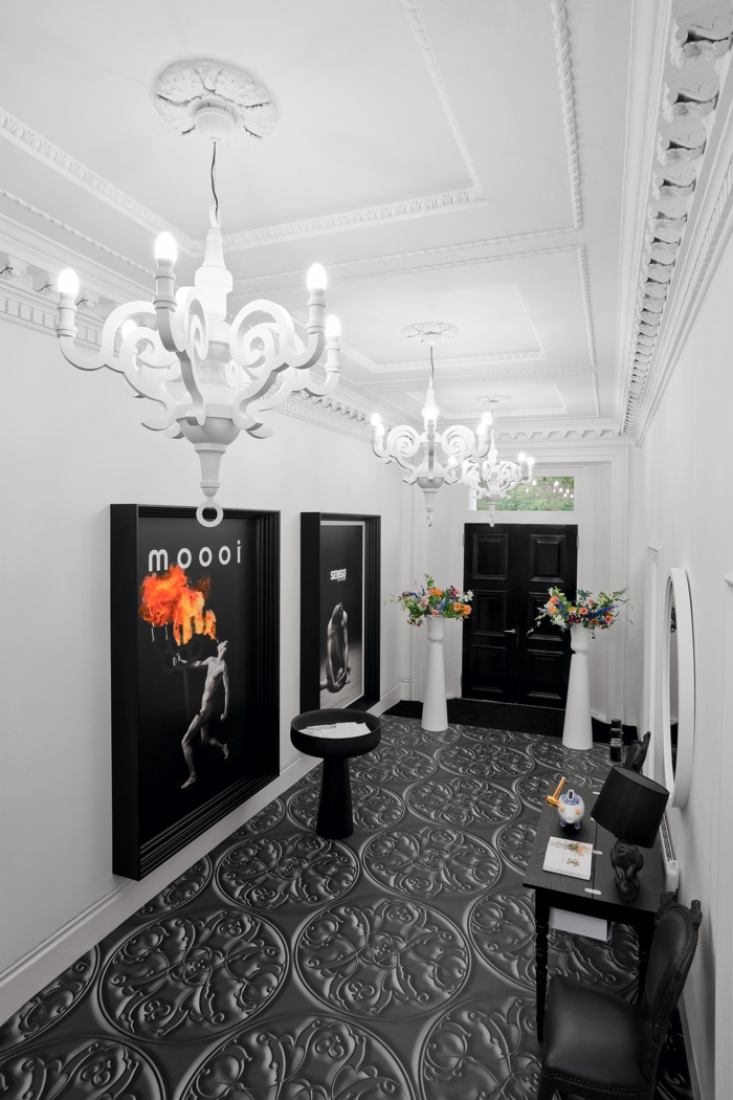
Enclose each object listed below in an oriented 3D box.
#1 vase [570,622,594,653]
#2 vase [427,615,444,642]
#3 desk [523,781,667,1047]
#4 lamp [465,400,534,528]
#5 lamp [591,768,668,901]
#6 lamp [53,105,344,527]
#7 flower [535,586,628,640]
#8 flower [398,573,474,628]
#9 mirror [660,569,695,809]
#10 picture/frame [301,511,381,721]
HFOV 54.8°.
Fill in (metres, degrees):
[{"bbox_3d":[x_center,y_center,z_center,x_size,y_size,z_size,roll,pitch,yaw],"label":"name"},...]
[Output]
[{"bbox_3d":[2.033,0.846,6.735,0.144,0.268,0.167,0,1,4],"label":"vase"},{"bbox_3d":[0.704,0.821,7.255,0.203,0.262,0.208,0,-3,-1],"label":"vase"},{"bbox_3d":[0.859,1.376,2.638,0.357,0.576,0.976,2,1,19],"label":"desk"},{"bbox_3d":[1.102,-0.765,6.132,0.510,0.877,0.511,-6,-10,38],"label":"lamp"},{"bbox_3d":[0.952,1.027,2.590,0.244,0.479,0.463,1,1,18],"label":"lamp"},{"bbox_3d":[-0.371,-0.564,1.677,0.596,0.995,0.638,0,1,-14],"label":"lamp"},{"bbox_3d":[2.124,0.661,7.253,0.988,0.549,1.369,1,1,21],"label":"flower"},{"bbox_3d":[0.750,0.554,7.487,0.612,0.479,0.654,-3,-5,7],"label":"flower"},{"bbox_3d":[1.193,0.538,2.704,0.046,1.075,1.053,-3,-1,22],"label":"mirror"},{"bbox_3d":[-0.232,0.519,5.986,0.170,1.927,1.798,0,-4,19],"label":"picture/frame"}]
